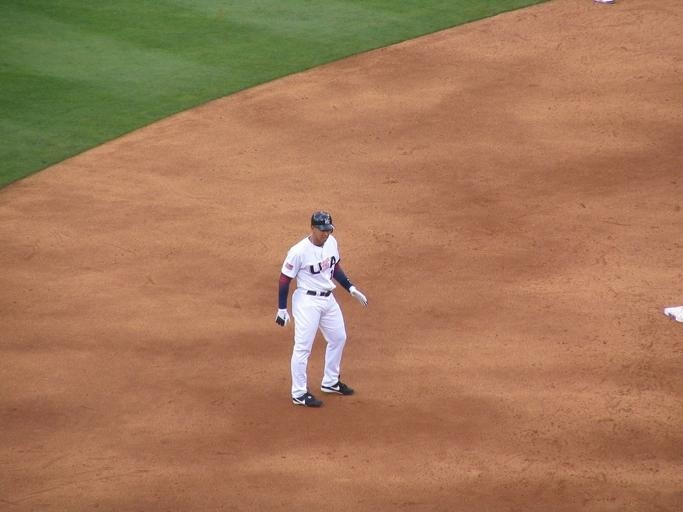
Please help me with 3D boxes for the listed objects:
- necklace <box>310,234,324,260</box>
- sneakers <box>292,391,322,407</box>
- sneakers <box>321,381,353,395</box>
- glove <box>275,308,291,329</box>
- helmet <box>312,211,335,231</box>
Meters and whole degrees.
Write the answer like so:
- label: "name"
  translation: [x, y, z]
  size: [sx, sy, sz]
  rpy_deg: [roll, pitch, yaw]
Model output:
- label: "necklace"
  translation: [-0.363, -0.212, 18.011]
  size: [0.233, 0.115, 0.316]
  rpy_deg: [5, 96, -2]
- label: "sneakers"
  translation: [-0.513, 2.222, 18.580]
  size: [0.507, 0.194, 0.216]
  rpy_deg: [1, 112, 8]
- label: "sneakers"
  translation: [-0.054, 2.093, 18.785]
  size: [0.568, 0.192, 0.253]
  rpy_deg: [0, 101, 5]
- label: "glove"
  translation: [-0.915, 0.952, 18.380]
  size: [0.236, 0.125, 0.285]
  rpy_deg: [6, 103, -2]
- label: "helmet"
  translation: [-0.307, -0.547, 18.011]
  size: [0.256, 0.341, 0.189]
  rpy_deg: [-5, 110, -25]
